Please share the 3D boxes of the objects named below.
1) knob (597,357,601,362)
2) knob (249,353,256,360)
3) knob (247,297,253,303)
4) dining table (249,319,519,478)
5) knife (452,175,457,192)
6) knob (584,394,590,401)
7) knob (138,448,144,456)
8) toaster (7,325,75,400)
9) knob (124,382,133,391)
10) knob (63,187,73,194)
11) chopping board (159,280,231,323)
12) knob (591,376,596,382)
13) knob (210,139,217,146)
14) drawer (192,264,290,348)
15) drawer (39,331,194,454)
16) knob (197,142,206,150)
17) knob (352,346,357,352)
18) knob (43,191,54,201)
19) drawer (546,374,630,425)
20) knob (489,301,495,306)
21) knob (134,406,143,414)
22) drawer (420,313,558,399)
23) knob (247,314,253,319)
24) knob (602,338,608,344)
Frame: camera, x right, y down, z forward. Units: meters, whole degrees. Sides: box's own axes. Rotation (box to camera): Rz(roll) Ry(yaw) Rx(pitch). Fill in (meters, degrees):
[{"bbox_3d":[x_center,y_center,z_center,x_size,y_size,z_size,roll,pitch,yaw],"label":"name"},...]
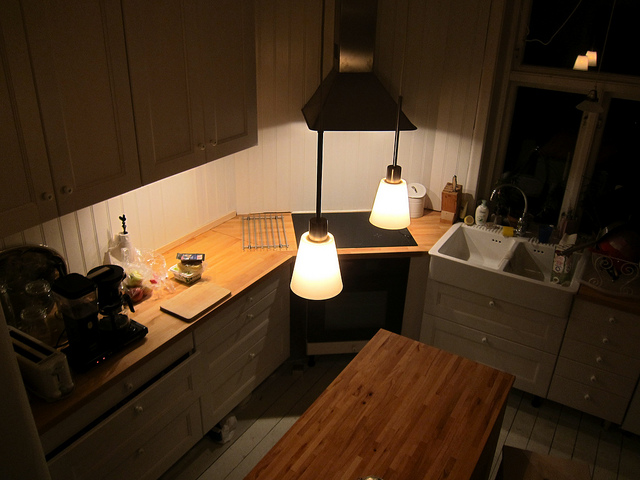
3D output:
[{"bbox_3d":[1.894,0.808,3.168,0.024,0.027,0.023,-41,51,-15],"label":"knob"},{"bbox_3d":[-0.477,0.820,3.310,0.024,0.047,0.045,-14,-21,35],"label":"knob"},{"bbox_3d":[-0.467,0.398,3.129,0.020,0.039,0.035,4,0,-17],"label":"knob"},{"bbox_3d":[0.370,0.873,2.202,0.744,0.222,1.187,20,31,34],"label":"dining table"},{"bbox_3d":[1.098,-0.458,3.805,0.034,0.165,0.036,10,43,17],"label":"knife"},{"bbox_3d":[1.885,1.107,3.305,0.035,0.043,0.011,7,13,39],"label":"knob"},{"bbox_3d":[-1.002,1.184,2.619,0.020,0.040,0.036,1,47,5],"label":"knob"},{"bbox_3d":[-1.387,0.616,2.271,0.376,0.222,0.144,13,26,23],"label":"toaster"},{"bbox_3d":[-1.010,0.770,2.466,0.047,0.052,0.025,-6,8,-39],"label":"knob"},{"bbox_3d":[-1.237,-0.246,2.302,0.023,0.034,0.044,9,3,16],"label":"knob"},{"bbox_3d":[-0.749,0.361,2.871,0.196,0.030,0.294,16,30,24],"label":"chopping board"},{"bbox_3d":[1.896,0.959,3.237,0.024,0.055,0.029,0,65,8],"label":"knob"},{"bbox_3d":[-0.687,-0.637,3.051,0.019,0.048,0.070,10,26,20],"label":"knob"},{"bbox_3d":[-0.539,0.447,3.052,0.376,0.150,0.620,24,47,27],"label":"drawer"},{"bbox_3d":[-1.078,0.810,2.406,0.499,0.124,0.520,26,46,35],"label":"drawer"},{"bbox_3d":[-0.743,-0.598,2.969,0.023,0.050,0.070,10,26,20],"label":"knob"},{"bbox_3d":[0.274,0.857,3.705,0.033,0.038,0.013,-2,12,-7],"label":"knob"},{"bbox_3d":[-1.297,-0.211,2.236,0.037,0.035,0.031,7,29,41],"label":"knob"},{"bbox_3d":[1.889,1.119,3.320,0.390,0.216,0.313,15,15,21],"label":"drawer"},{"bbox_3d":[1.239,0.453,3.361,0.026,0.030,0.021,26,11,6],"label":"knob"},{"bbox_3d":[-0.973,0.912,2.518,0.033,0.035,0.039,19,-2,-19],"label":"knob"},{"bbox_3d":[1.378,0.705,3.743,0.990,0.697,0.581,12,21,31],"label":"drawer"},{"bbox_3d":[-0.468,0.520,3.180,0.017,0.032,0.029,30,17,39],"label":"knob"},{"bbox_3d":[1.904,0.671,3.119,0.024,0.029,0.027,-4,50,20],"label":"knob"}]
